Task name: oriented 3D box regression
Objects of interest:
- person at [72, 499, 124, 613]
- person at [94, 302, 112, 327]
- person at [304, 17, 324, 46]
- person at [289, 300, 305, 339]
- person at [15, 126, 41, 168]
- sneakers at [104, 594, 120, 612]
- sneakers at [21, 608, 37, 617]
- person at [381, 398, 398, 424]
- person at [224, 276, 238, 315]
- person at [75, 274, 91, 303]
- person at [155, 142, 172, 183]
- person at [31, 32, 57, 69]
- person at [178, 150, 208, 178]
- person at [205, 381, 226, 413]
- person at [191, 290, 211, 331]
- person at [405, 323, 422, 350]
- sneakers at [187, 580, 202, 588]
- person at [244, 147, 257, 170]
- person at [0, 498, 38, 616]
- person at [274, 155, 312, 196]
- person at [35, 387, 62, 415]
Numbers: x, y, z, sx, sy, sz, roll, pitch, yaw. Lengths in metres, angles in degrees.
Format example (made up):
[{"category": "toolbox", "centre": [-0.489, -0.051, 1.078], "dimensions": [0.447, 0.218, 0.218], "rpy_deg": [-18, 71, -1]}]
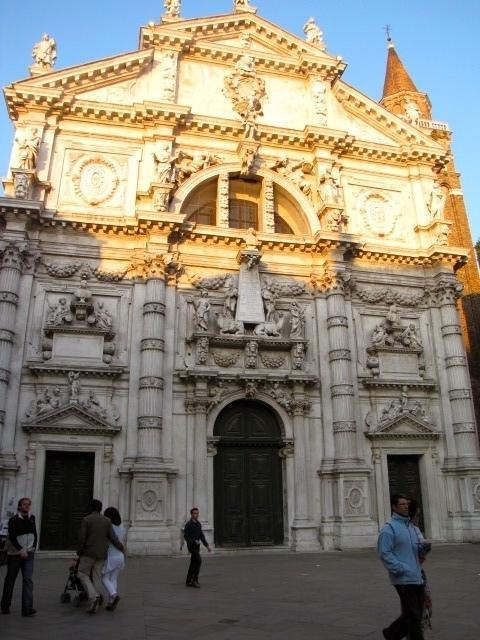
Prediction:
[{"category": "person", "centre": [-2.030, 3.394, 8.245], "dimensions": [0.569, 1.274, 0.421], "rpy_deg": [-8, -22, 16]}, {"category": "person", "centre": [-4.404, -0.138, 18.835], "dimensions": [0.569, 0.888, 0.267], "rpy_deg": [3, -22, -11]}, {"category": "person", "centre": [3.207, -12.211, 25.227], "dimensions": [0.768, 1.689, 0.559], "rpy_deg": [-5, -22, 10]}, {"category": "person", "centre": [1.975, 0.033, 20.468], "dimensions": [0.461, 1.466, 0.761], "rpy_deg": [-7, -22, 14]}, {"category": "person", "centre": [-7.081, -5.659, 19.538], "dimensions": [0.668, 2.154, 0.862], "rpy_deg": [7, -23, -20]}, {"category": "sneakers", "centre": [-1.785, 3.916, 8.128], "dimensions": [0.166, 0.197, 0.331], "rpy_deg": [5, -21, -16]}, {"category": "sneakers", "centre": [-2.767, 3.827, 7.647], "dimensions": [0.209, 0.082, 0.077], "rpy_deg": [-22, -31, 31]}, {"category": "person", "centre": [5.265, 3.137, 20.357], "dimensions": [0.735, 0.830, 0.349], "rpy_deg": [8, -23, -23]}, {"category": "person", "centre": [-0.312, -0.837, 20.172], "dimensions": [0.473, 1.568, 0.291], "rpy_deg": [0, -22, -2]}, {"category": "person", "centre": [-5.060, -0.996, 18.878], "dimensions": [0.546, 1.097, 0.459], "rpy_deg": [4, -22, -12]}, {"category": "person", "centre": [-2.705, -5.511, 20.620], "dimensions": [0.677, 1.928, 0.488], "rpy_deg": [3, -22, -11]}, {"category": "person", "centre": [-7.219, -9.751, 21.543], "dimensions": [0.724, 1.583, 0.318], "rpy_deg": [8, -23, -22]}, {"category": "person", "centre": [-1.756, -5.667, 21.423], "dimensions": [1.194, 0.780, 0.380], "rpy_deg": [-24, -6, 2]}, {"category": "person", "centre": [-0.825, 2.470, 18.888], "dimensions": [0.638, 1.001, 0.259], "rpy_deg": [15, -27, -36]}, {"category": "person", "centre": [-1.251, -0.244, 19.467], "dimensions": [0.592, 1.604, 0.639], "rpy_deg": [4, -22, -14]}, {"category": "person", "centre": [6.418, 0.658, 21.653], "dimensions": [0.856, 1.049, 0.333], "rpy_deg": [9, -25, -22]}, {"category": "sneakers", "centre": [-0.819, 4.704, 10.424], "dimensions": [0.315, 0.123, 0.092], "rpy_deg": [-14, -30, 26]}, {"category": "person", "centre": [0.373, -6.037, 21.989], "dimensions": [0.538, 0.978, 0.765], "rpy_deg": [-2, -21, 2]}, {"category": "person", "centre": [-2.977, 3.213, 8.005], "dimensions": [0.471, 1.481, 0.546], "rpy_deg": [5, -22, -17]}, {"category": "person", "centre": [2.158, -5.556, 22.664], "dimensions": [1.609, 1.637, 0.454], "rpy_deg": [7, -23, -21]}, {"category": "person", "centre": [-5.727, 2.426, 17.294], "dimensions": [0.848, 1.030, 0.183], "rpy_deg": [6, -46, -17]}]
